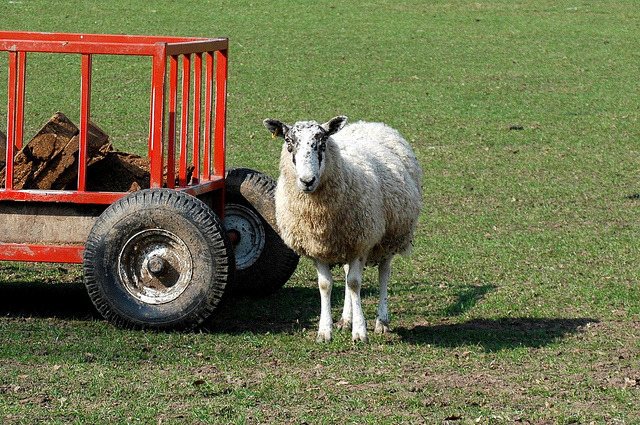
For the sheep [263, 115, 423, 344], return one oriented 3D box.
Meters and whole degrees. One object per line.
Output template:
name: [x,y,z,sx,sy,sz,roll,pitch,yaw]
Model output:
sheep: [0.673,0.178,22.458,2.588,4.092,1.967,-11,20,-33]
